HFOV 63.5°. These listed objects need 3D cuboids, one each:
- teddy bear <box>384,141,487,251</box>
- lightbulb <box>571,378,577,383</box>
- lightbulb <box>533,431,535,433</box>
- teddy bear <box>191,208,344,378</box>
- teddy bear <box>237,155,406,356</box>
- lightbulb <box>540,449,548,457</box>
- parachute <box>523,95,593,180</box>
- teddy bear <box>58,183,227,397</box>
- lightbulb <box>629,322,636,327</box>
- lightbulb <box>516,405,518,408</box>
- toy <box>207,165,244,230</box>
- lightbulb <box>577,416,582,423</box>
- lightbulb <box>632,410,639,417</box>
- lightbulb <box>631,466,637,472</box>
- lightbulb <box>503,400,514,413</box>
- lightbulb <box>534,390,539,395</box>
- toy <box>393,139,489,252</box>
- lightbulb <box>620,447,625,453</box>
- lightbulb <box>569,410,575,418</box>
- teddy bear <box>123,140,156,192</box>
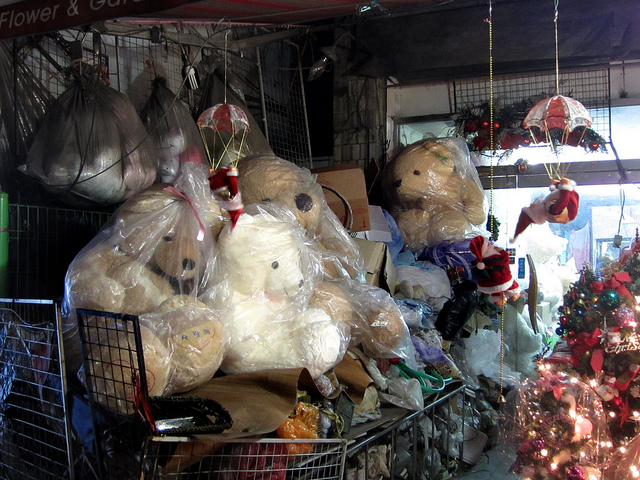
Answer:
[{"bbox_3d":[0.779,-0.385,3.709,0.652,0.766,0.563,3,12,0],"label":"teddy bear"},{"bbox_3d":[1.298,0.725,2.642,0.021,0.015,0.036,0,4,39],"label":"lightbulb"},{"bbox_3d":[1.102,0.999,2.664,0.009,0.009,0.009,-2,14,-20],"label":"lightbulb"},{"bbox_3d":[-0.191,0.262,2.301,0.611,0.778,0.530,7,5,23],"label":"teddy bear"},{"bbox_3d":[-0.041,0.076,2.552,0.603,1.000,0.827,-17,11,-24],"label":"teddy bear"},{"bbox_3d":[1.136,1.089,2.623,0.029,0.043,0.013,-8,-11,27],"label":"lightbulb"},{"bbox_3d":[1.384,-0.577,2.998,0.445,0.528,0.440,5,16,24],"label":"parachute"},{"bbox_3d":[-0.707,0.156,2.104,0.589,0.872,0.569,13,6,25],"label":"teddy bear"},{"bbox_3d":[1.716,0.472,2.840,0.037,0.028,0.010,-4,4,-16],"label":"lightbulb"},{"bbox_3d":[1.061,0.906,2.782,0.005,0.007,0.010,-3,17,-5],"label":"lightbulb"},{"bbox_3d":[-0.374,-0.160,2.055,0.116,0.206,0.137,-9,17,-39],"label":"toy"},{"bbox_3d":[1.276,0.891,2.542,0.019,0.024,0.027,-1,4,30],"label":"lightbulb"},{"bbox_3d":[1.753,0.975,2.873,0.020,0.023,0.038,-7,12,-10],"label":"lightbulb"},{"bbox_3d":[1.454,1.072,2.395,0.024,0.024,0.013,-3,3,2],"label":"lightbulb"},{"bbox_3d":[1.196,1.072,3.283,0.060,0.093,0.092,-7,-28,10],"label":"lightbulb"},{"bbox_3d":[1.115,0.799,2.676,0.014,0.016,0.005,0,4,40],"label":"lightbulb"},{"bbox_3d":[0.825,-0.313,3.593,0.604,0.775,0.271,-2,4,19],"label":"toy"},{"bbox_3d":[1.422,0.998,2.435,0.017,0.014,0.030,-2,4,23],"label":"lightbulb"},{"bbox_3d":[1.245,0.866,2.557,0.023,0.028,0.023,-1,4,26],"label":"lightbulb"},{"bbox_3d":[-0.916,-0.365,2.635,0.098,0.296,0.232,-7,-8,28],"label":"teddy bear"}]
